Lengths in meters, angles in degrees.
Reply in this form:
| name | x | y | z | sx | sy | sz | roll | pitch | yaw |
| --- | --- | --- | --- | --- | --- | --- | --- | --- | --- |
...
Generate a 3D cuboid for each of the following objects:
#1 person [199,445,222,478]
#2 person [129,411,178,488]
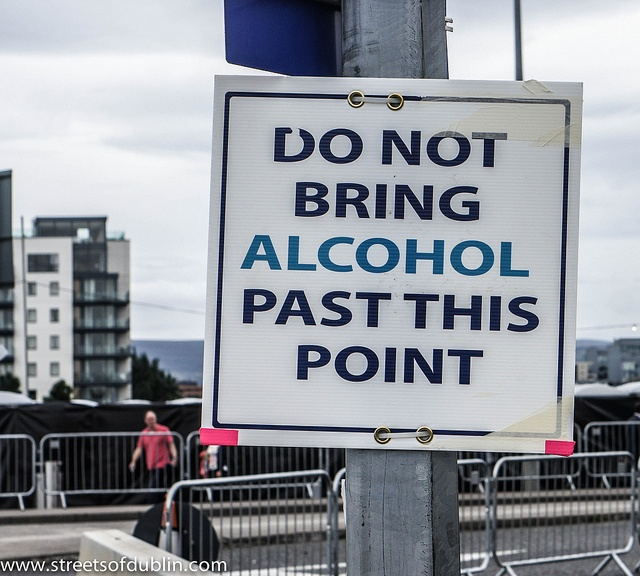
| name | x | y | z | sx | sy | sz | roll | pitch | yaw |
| --- | --- | --- | --- | --- | --- | --- | --- | --- | --- |
| person | -1.658 | 2.642 | 29.029 | 0.322 | 0.473 | 1.111 | -4 | 0 | -4 |
| person | -2.540 | 2.492 | 29.377 | 0.728 | 1.142 | 0.392 | -4 | 0 | -7 |
